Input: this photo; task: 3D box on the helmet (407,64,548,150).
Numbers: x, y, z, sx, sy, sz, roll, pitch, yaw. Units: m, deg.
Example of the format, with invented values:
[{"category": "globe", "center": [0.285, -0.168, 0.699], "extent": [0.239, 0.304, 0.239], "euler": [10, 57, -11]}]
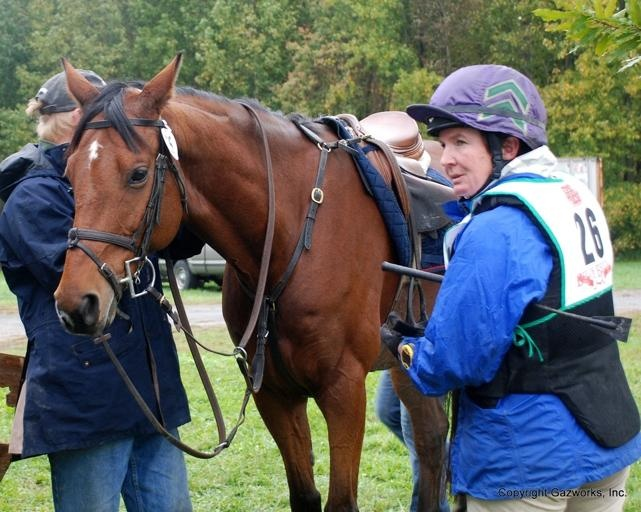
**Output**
[{"category": "helmet", "center": [0.689, -0.632, 4.504], "extent": [0.469, 0.238, 0.338], "euler": [7, -3, -7]}]
